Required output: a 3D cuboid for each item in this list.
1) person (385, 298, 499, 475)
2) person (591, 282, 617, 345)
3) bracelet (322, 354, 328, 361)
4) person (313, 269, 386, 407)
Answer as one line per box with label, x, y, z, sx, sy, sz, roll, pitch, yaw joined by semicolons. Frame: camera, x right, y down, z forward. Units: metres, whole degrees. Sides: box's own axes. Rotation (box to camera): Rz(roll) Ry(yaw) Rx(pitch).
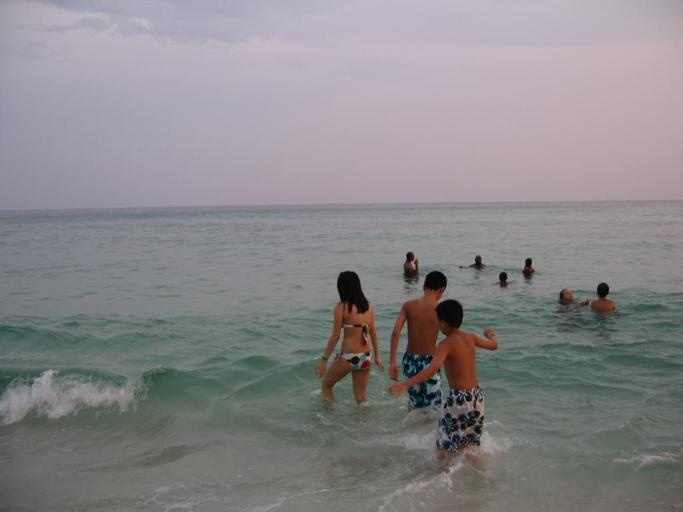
person;1.747;1.909;8.889;1.098;2.463;0.467;-2;9;-3
person;6.713;1.278;15.121;0.698;0.884;2.246;3;9;25
bracelet;-0.283;1.754;10.188;0.124;0.093;0.123;8;-6;-7
person;0.141;1.491;10.441;1.120;2.505;0.765;-2;9;-1
